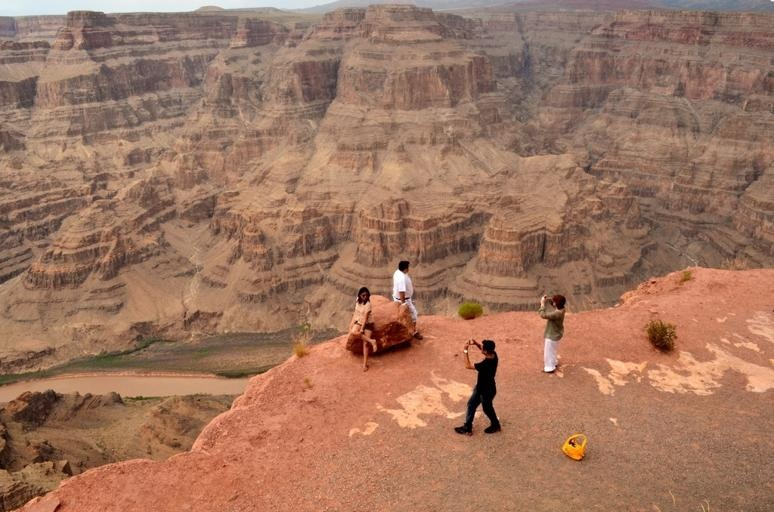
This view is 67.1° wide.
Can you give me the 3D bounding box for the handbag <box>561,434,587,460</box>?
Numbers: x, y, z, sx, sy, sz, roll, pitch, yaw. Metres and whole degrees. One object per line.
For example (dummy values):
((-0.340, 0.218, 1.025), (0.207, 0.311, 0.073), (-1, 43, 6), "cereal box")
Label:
((9.093, 9.270, 28.477), (1.108, 1.143, 0.925), (-2, 5, 25), "handbag")
